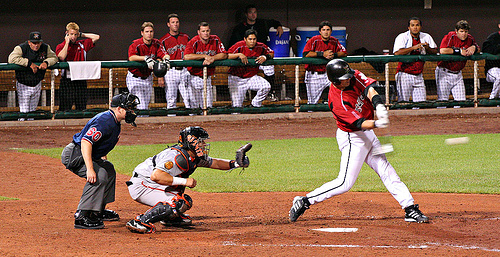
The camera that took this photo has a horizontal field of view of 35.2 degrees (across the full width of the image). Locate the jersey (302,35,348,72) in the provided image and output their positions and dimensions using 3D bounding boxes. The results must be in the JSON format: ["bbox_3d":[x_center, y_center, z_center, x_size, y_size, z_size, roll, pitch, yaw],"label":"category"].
[{"bbox_3d":[2.214,-2.353,24.335,1.485,1.078,0.502,4,-2,0],"label":"jersey"}]

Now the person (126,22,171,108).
[{"bbox_3d":[-3.103,-1.934,24.021,1.293,2.517,0.838,0,2,31],"label":"person"}]

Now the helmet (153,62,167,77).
[{"bbox_3d":[-2.700,-1.769,23.512,0.466,0.297,0.396,1,-2,27],"label":"helmet"}]

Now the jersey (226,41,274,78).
[{"bbox_3d":[-0.056,-2.181,24.773,1.822,1.013,0.782,0,20,-20],"label":"jersey"}]

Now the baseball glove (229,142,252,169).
[{"bbox_3d":[-0.241,0.634,17.917,0.288,0.602,0.440,28,12,41],"label":"baseball glove"}]

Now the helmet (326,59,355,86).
[{"bbox_3d":[2.011,-1.259,17.709,0.630,0.598,0.216,0,1,5],"label":"helmet"}]

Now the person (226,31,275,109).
[{"bbox_3d":[-0.065,-1.816,24.754,1.383,2.397,1.183,-1,2,-20],"label":"person"}]

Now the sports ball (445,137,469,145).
[{"bbox_3d":[4.574,0.279,17.932,0.670,0.159,0.168,-1,-2,-12],"label":"sports ball"}]

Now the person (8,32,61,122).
[{"bbox_3d":[-6.616,-1.528,23.881,1.206,2.650,1.475,-2,2,-35],"label":"person"}]

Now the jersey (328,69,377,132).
[{"bbox_3d":[2.278,-0.703,17.931,1.328,1.134,0.834,-9,28,-29],"label":"jersey"}]

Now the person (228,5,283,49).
[{"bbox_3d":[0.077,-3.312,25.979,1.466,1.778,0.559,-23,50,-13],"label":"person"}]

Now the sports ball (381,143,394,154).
[{"bbox_3d":[3.060,0.475,17.705,0.346,0.110,0.309,1,6,15],"label":"sports ball"}]

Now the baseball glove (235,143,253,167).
[{"bbox_3d":[-0.099,0.594,17.792,0.217,0.468,0.401,15,3,20],"label":"baseball glove"}]

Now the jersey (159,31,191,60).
[{"bbox_3d":[-2.328,-2.530,24.254,1.310,0.976,0.605,-4,15,-17],"label":"jersey"}]

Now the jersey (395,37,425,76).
[{"bbox_3d":[4.973,-2.097,24.980,0.994,0.565,1.101,1,-21,1],"label":"jersey"}]

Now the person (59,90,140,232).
[{"bbox_3d":[-3.475,0.732,17.953,1.466,3.134,1.062,-1,2,-25],"label":"person"}]

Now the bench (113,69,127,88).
[{"bbox_3d":[-4.039,-1.613,24.747,0.672,0.548,0.527,2,46,-7],"label":"bench"}]

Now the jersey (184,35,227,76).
[{"bbox_3d":[-1.202,-2.263,24.582,1.608,1.162,0.778,3,10,37],"label":"jersey"}]
